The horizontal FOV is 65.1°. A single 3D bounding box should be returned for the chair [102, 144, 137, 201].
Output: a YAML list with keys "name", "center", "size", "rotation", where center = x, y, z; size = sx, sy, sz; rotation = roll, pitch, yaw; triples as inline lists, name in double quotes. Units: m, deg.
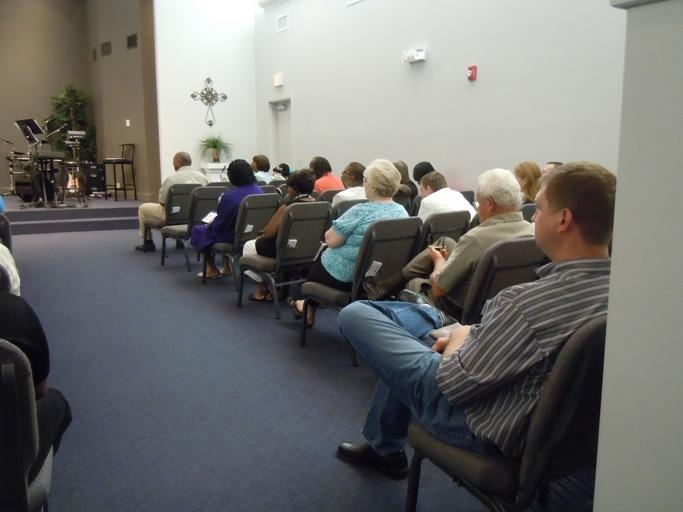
- name: "chair"
  center: [-4.965, -1.909, 12.021]
  size: [0.566, 1.214, 1.391]
  rotation: [-6, 13, -29]

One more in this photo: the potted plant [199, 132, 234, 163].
- name: "potted plant"
  center: [-2.821, -2.443, 12.108]
  size: [0.546, 0.495, 0.587]
  rotation: [7, 13, 32]

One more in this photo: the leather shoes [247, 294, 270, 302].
- name: "leather shoes"
  center: [-0.708, 0.359, 4.627]
  size: [0.185, 0.083, 0.072]
  rotation: [4, 1, -4]

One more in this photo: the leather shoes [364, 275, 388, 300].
- name: "leather shoes"
  center: [0.201, 0.193, 3.155]
  size: [0.103, 0.151, 0.144]
  rotation: [2, 22, -24]

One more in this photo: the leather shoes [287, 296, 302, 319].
- name: "leather shoes"
  center: [-0.345, 0.387, 4.029]
  size: [0.074, 0.084, 0.216]
  rotation: [0, 15, -14]

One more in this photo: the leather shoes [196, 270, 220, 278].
- name: "leather shoes"
  center: [-1.329, 0.197, 5.314]
  size: [0.229, 0.110, 0.091]
  rotation: [6, -2, 0]

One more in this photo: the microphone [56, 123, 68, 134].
- name: "microphone"
  center: [-6.635, -3.050, 12.666]
  size: [0.290, 0.256, 0.715]
  rotation: [-6, 13, -26]

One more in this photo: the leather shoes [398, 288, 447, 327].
- name: "leather shoes"
  center: [0.342, 0.202, 2.288]
  size: [0.073, 0.096, 0.223]
  rotation: [-22, 28, -18]
